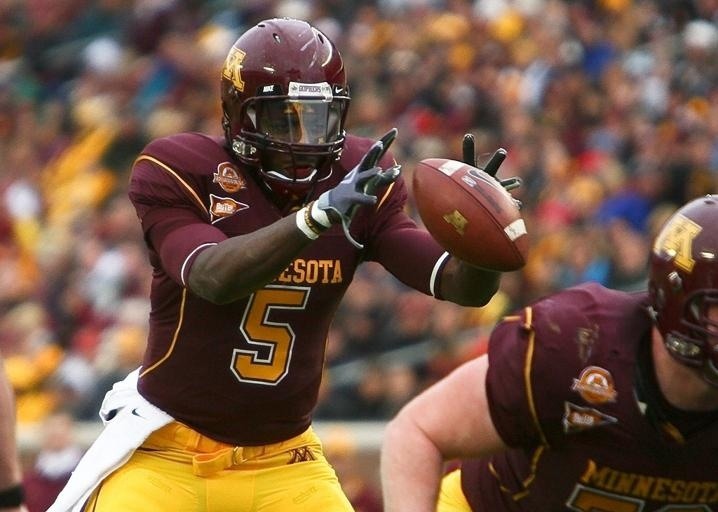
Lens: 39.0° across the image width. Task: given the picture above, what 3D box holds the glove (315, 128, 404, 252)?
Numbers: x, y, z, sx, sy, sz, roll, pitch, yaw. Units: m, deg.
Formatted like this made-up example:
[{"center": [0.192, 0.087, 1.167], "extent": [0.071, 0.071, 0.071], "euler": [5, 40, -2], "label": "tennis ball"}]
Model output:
[{"center": [-0.019, -0.248, 3.474], "extent": [0.250, 0.425, 0.289], "euler": [-11, 19, -25], "label": "glove"}]

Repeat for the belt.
[{"center": [-0.476, 0.708, 3.750], "extent": [0.681, 0.144, 0.159], "euler": [-1, 34, -13], "label": "belt"}]

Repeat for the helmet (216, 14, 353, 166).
[{"center": [-0.356, -0.647, 3.839], "extent": [0.419, 0.461, 0.555], "euler": [1, 13, -25], "label": "helmet"}]
